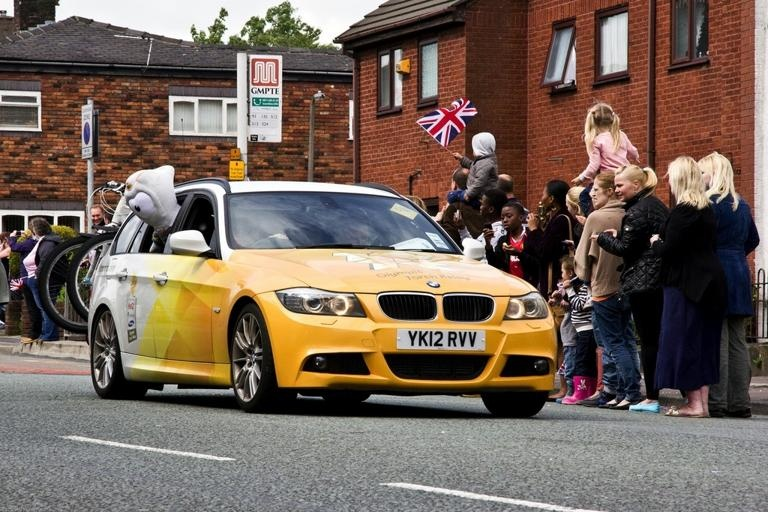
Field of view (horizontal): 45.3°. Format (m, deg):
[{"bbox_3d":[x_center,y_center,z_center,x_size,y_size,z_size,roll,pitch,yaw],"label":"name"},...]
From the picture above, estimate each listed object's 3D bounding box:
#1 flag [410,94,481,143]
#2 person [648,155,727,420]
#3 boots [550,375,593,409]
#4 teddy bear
[{"bbox_3d":[1.176,-2.319,16.316,1.175,0.837,0.311,-35,-6,-6],"label":"flag"},{"bbox_3d":[3.030,0.350,9.176,0.721,2.606,0.578,6,16,25],"label":"person"},{"bbox_3d":[2.246,1.586,10.822,0.506,0.308,0.239,0,0,-1],"label":"boots"},{"bbox_3d":[-2.548,-0.447,10.296,0.568,1.098,0.555,-11,2,-39],"label":"teddy bear"}]
